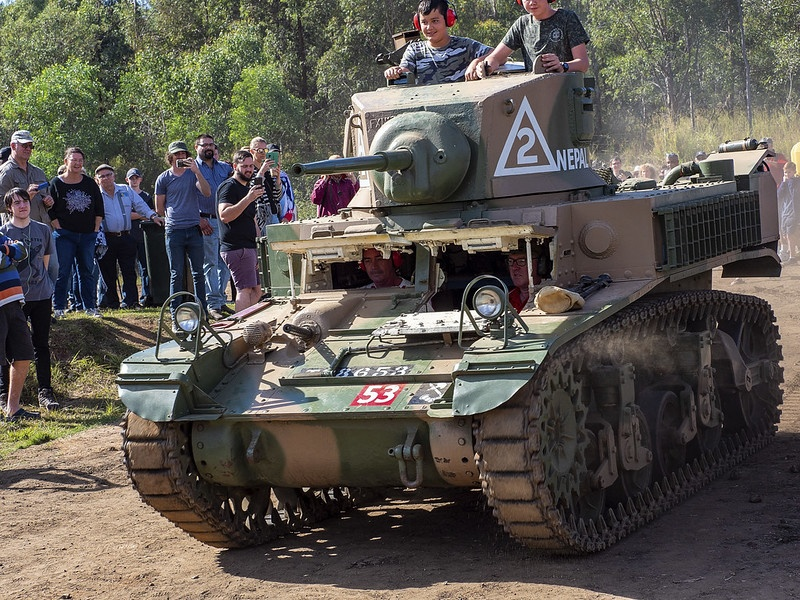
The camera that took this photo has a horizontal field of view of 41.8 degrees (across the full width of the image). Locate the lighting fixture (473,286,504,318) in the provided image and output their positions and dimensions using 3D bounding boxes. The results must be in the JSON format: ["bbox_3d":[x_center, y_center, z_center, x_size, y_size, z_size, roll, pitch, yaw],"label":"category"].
[{"bbox_3d":[0.816,0.016,9.606,0.176,0.222,0.108,28,14,18],"label":"lighting fixture"}]

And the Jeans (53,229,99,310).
[{"bbox_3d":[-5.405,-0.597,17.414,0.667,1.792,0.459,-7,37,-28],"label":"Jeans"}]

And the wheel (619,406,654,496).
[{"bbox_3d":[2.414,1.569,10.771,0.323,1.067,0.771,-3,-3,31],"label":"wheel"}]

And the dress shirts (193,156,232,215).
[{"bbox_3d":[-3.130,-1.909,17.211,0.664,0.993,0.491,-5,38,-8],"label":"dress shirts"}]

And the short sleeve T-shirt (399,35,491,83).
[{"bbox_3d":[0.552,-2.911,13.002,1.207,0.651,0.328,-7,1,3],"label":"short sleeve T-shirt"}]

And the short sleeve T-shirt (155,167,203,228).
[{"bbox_3d":[-3.521,-1.624,16.902,0.814,1.144,0.505,-6,-13,-9],"label":"short sleeve T-shirt"}]

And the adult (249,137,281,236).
[{"bbox_3d":[-2.001,-1.820,16.607,0.351,1.441,0.376,-18,-26,-11],"label":"adult"}]

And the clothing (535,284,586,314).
[{"bbox_3d":[1.510,-0.005,9.958,0.460,0.263,0.208,-1,9,12],"label":"clothing"}]

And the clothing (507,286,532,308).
[{"bbox_3d":[1.263,-0.021,11.111,0.166,0.358,0.149,-2,0,26],"label":"clothing"}]

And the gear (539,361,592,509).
[{"bbox_3d":[1.500,1.260,9.646,0.184,1.466,1.205,-3,0,19],"label":"gear"}]

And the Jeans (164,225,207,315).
[{"bbox_3d":[-3.420,-0.472,16.784,0.585,1.642,0.471,-2,-40,-13],"label":"Jeans"}]

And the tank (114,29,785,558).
[{"bbox_3d":[1.195,0.073,11.739,3.894,4.821,7.014,-2,5,32],"label":"tank"}]

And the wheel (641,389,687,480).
[{"bbox_3d":[2.839,1.457,11.343,0.426,0.965,0.733,0,7,30],"label":"wheel"}]

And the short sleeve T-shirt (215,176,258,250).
[{"bbox_3d":[-2.322,-1.213,15.094,0.461,1.118,0.856,4,10,14],"label":"short sleeve T-shirt"}]
